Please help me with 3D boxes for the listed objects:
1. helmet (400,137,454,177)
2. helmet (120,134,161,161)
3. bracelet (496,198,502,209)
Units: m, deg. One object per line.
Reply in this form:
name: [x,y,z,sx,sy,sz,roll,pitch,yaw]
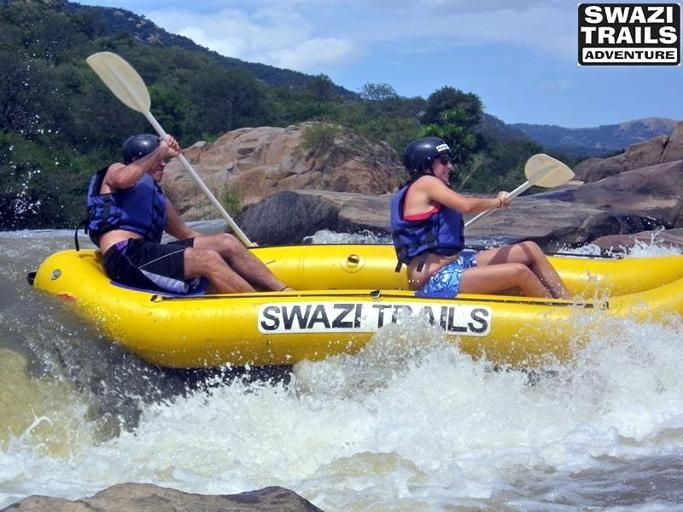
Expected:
helmet: [0.896,-1.075,11.334,0.504,0.350,0.386,-3,7,17]
helmet: [-2.170,-1.174,11.487,0.379,0.267,0.259,-29,9,10]
bracelet: [1.657,-0.555,11.214,0.063,0.075,0.027,-5,5,-2]
